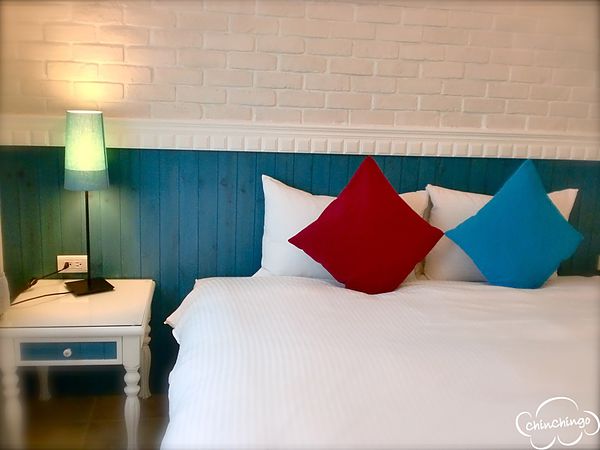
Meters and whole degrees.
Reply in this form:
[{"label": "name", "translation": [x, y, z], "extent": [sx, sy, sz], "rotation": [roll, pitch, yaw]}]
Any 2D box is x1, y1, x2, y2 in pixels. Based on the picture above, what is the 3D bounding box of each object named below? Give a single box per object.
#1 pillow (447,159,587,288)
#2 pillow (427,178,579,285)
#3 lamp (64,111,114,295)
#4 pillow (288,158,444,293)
[{"label": "pillow", "translation": [1.061, 0.006, 2.783], "extent": [0.610, 0.576, 0.290], "rotation": [-6, 11, -24]}, {"label": "pillow", "translation": [0.991, 0.040, 2.822], "extent": [0.512, 0.509, 0.153], "rotation": [3, -5, 4]}, {"label": "lamp", "translation": [-1.030, -0.108, 2.669], "extent": [0.207, 0.868, 0.271], "rotation": [-7, 11, -30]}, {"label": "pillow", "translation": [0.320, -0.004, 2.687], "extent": [0.701, 0.632, 0.273], "rotation": [-6, 11, -26]}]
